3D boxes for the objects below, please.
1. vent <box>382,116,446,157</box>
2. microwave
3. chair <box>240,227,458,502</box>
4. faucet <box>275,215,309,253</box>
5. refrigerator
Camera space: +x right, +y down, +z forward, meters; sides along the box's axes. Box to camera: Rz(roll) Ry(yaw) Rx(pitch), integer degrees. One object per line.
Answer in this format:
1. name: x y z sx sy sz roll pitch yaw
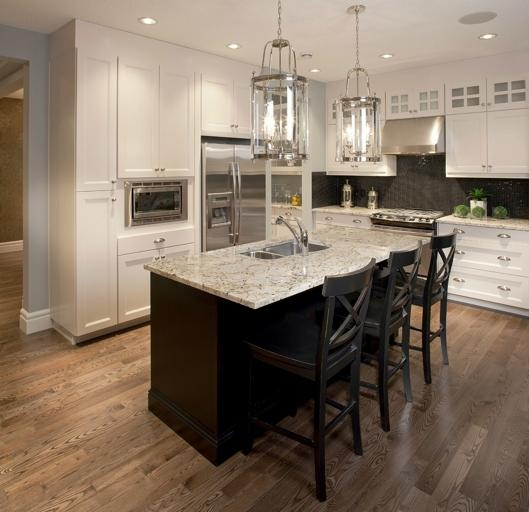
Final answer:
1. vent: 1.707 -1.385 5.081 0.664 0.427 0.377 6 10 32
2. microwave: -0.955 -0.487 4.123 0.598 0.386 0.339 -3 -3 5
3. chair: 0.479 0.650 2.547 0.422 0.810 1.288 5 6 35
4. faucet: 0.191 -0.186 3.106 0.061 0.220 0.328 -18 36 -38
5. refrigerator: -0.386 -0.590 4.778 0.742 1.226 0.513 -12 26 -32
